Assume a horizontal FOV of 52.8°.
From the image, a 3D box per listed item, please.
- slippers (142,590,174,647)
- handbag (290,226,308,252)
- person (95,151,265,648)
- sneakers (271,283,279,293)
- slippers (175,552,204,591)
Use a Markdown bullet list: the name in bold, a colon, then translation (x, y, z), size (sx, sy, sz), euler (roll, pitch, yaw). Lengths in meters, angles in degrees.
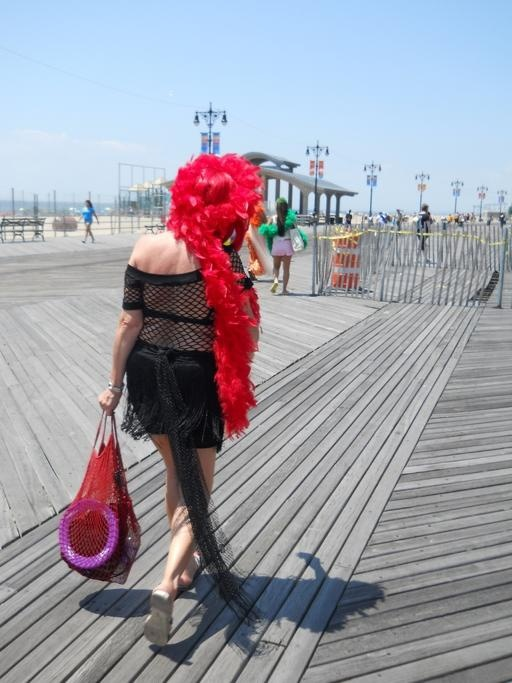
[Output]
- **slippers**: translation (-0.276, 0.785, 1.516), size (0.082, 0.191, 0.086), euler (9, 16, 18)
- **handbag**: translation (0.856, -2.014, 10.098), size (0.321, 0.452, 0.586), euler (6, 9, 22)
- **person**: translation (-0.187, 0.188, 1.675), size (0.497, 1.616, 0.486), euler (-3, 10, -34)
- **sneakers**: translation (0.370, -1.071, 10.161), size (0.117, 0.262, 0.110), euler (8, 51, -9)
- **slippers**: translation (-0.257, 0.917, 2.051), size (0.055, 0.050, 0.142), euler (1, 14, 7)
